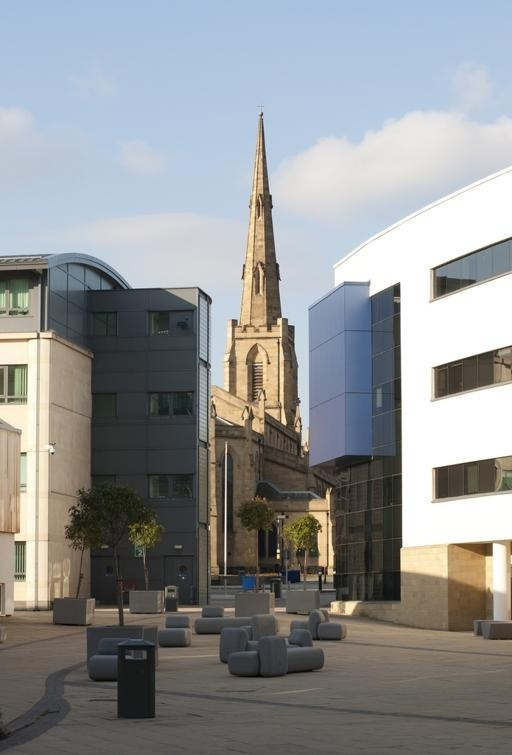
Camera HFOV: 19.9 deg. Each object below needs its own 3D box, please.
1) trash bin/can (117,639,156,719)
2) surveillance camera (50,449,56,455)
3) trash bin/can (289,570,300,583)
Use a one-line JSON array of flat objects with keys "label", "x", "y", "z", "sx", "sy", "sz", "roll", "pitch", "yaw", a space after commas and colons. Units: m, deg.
[{"label": "trash bin/can", "x": -1.601, "y": 4.000, "z": 19.431, "sx": 0.567, "sy": 1.061, "sz": 0.637, "roll": -3, "pitch": -9, "yaw": 23}, {"label": "surveillance camera", "x": -6.654, "y": 2.382, "z": 47.779, "sx": 0.150, "sy": 0.161, "sz": 0.162, "roll": 2, "pitch": -7, "yaw": -15}, {"label": "trash bin/can", "x": 2.087, "y": 10.721, "z": 79.063, "sx": 0.575, "sy": 0.934, "sz": 1.172, "roll": 0, "pitch": -1, "yaw": 11}]
